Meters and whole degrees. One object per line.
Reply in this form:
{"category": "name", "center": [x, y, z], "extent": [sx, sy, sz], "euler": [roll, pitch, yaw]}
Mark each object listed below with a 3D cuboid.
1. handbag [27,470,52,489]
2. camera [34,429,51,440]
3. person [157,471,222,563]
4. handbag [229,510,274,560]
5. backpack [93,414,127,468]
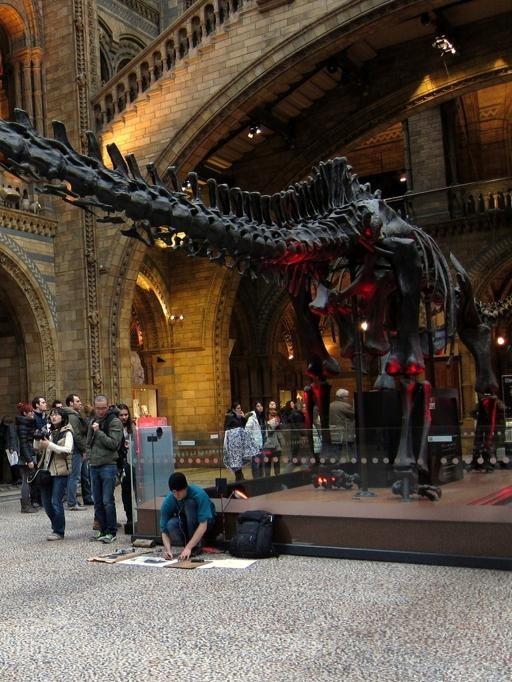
{"category": "handbag", "center": [-2.138, 1.363, 6.289], "extent": [0.123, 0.196, 0.308], "euler": [-1, -5, -45]}
{"category": "camera", "center": [-2.117, 0.930, 6.299], "extent": [0.117, 0.110, 0.118], "euler": [5, -3, -39]}
{"category": "person", "center": [-0.576, 1.442, 5.241], "extent": [0.491, 0.679, 0.730], "euler": [-10, -10, 13]}
{"category": "handbag", "center": [-0.024, 1.569, 5.101], "extent": [0.361, 0.316, 0.179], "euler": [-7, -32, 26]}
{"category": "backpack", "center": [-1.511, 0.959, 6.291], "extent": [0.343, 0.528, 0.460], "euler": [1, -1, -43]}
